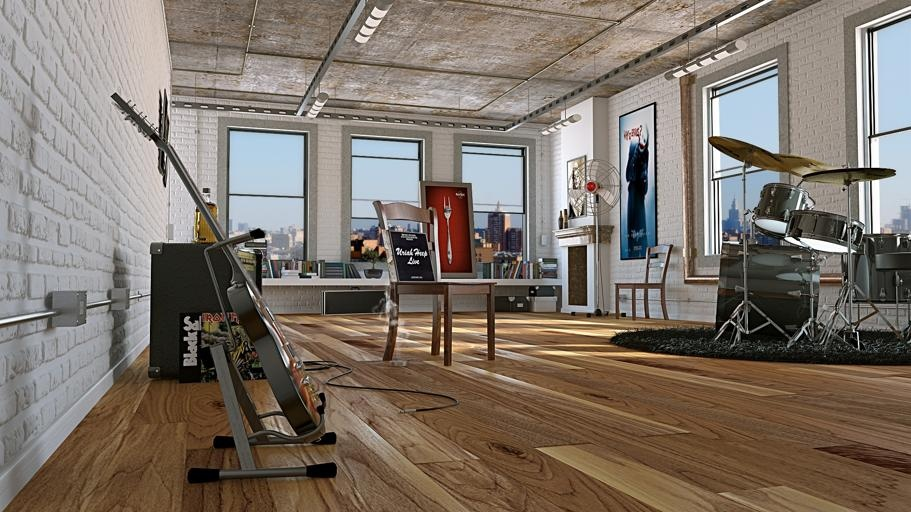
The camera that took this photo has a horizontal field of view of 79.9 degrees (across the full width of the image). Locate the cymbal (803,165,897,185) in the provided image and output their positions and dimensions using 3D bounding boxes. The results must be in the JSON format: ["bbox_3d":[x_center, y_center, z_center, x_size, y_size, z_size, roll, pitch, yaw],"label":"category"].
[{"bbox_3d":[3.698,-0.746,5.115,0.447,0.114,0.426,-9,9,-24],"label":"cymbal"}]

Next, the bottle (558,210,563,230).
[{"bbox_3d":[2.015,-0.660,10.490,0.063,0.328,0.216,-2,1,-9],"label":"bottle"}]

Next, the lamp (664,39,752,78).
[{"bbox_3d":[3.470,-2.670,7.423,0.186,0.127,1.063,21,-12,-20],"label":"lamp"}]

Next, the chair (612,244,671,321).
[{"bbox_3d":[3.009,0.440,8.953,0.735,1.193,1.069,-2,1,-17],"label":"chair"}]

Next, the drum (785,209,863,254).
[{"bbox_3d":[3.325,-0.215,4.911,0.612,0.380,0.486,-2,1,-40],"label":"drum"}]

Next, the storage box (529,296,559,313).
[{"bbox_3d":[1.767,0.966,10.834,0.585,0.294,0.335,-1,1,1],"label":"storage box"}]

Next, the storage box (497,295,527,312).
[{"bbox_3d":[1.123,0.975,10.879,0.580,0.209,0.352,0,-3,-15],"label":"storage box"}]

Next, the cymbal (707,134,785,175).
[{"bbox_3d":[2.803,-0.984,5.229,0.531,0.318,0.805,-1,1,37],"label":"cymbal"}]

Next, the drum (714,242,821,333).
[{"bbox_3d":[3.101,0.330,5.398,1.095,0.821,0.518,1,-5,-6],"label":"drum"}]

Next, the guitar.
[{"bbox_3d":[-1.065,0.045,2.425,0.726,1.056,1.117,-2,1,-30],"label":"guitar"}]

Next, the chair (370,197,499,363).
[{"bbox_3d":[-0.214,0.213,4.470,0.853,1.299,0.903,-2,1,-25],"label":"chair"}]
